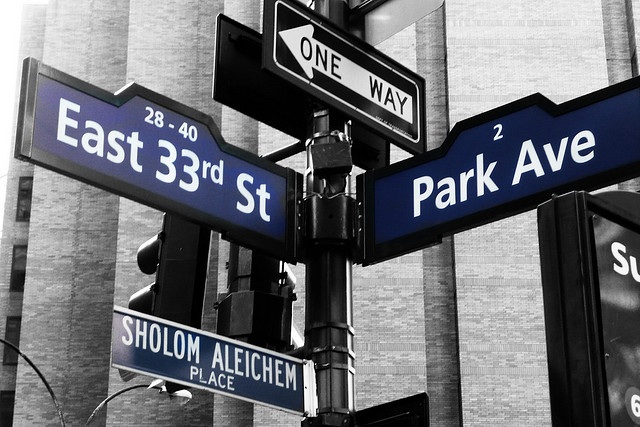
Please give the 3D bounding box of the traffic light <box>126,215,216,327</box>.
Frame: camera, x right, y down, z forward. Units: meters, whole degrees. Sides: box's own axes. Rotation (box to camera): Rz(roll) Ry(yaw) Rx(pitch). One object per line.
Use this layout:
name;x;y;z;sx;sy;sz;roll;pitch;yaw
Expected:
traffic light;-1.798;0.613;12.393;1.011;1.184;0.772;6;17;23
